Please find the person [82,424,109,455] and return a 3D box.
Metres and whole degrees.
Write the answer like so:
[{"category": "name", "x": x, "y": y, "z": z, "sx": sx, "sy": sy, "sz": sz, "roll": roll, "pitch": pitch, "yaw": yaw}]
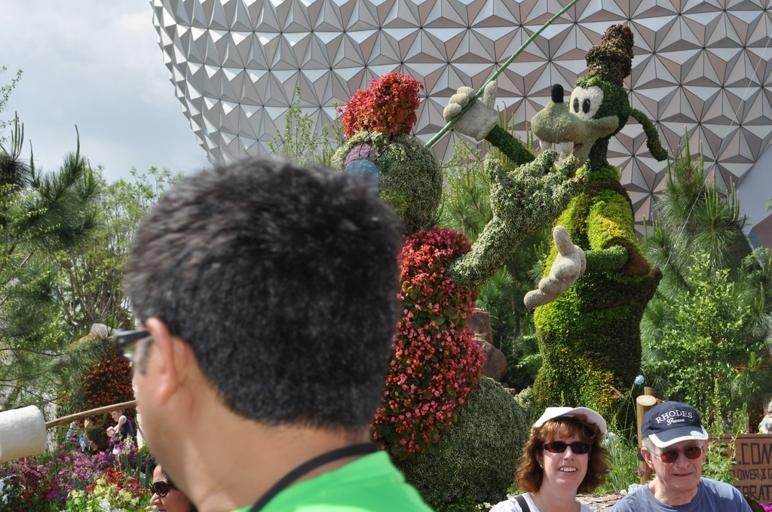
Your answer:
[{"category": "person", "x": -6.346, "y": 3.967, "z": 21.444, "sx": 0.514, "sy": 0.831, "sz": 0.221, "roll": 2, "pitch": -9, "yaw": -7}]
